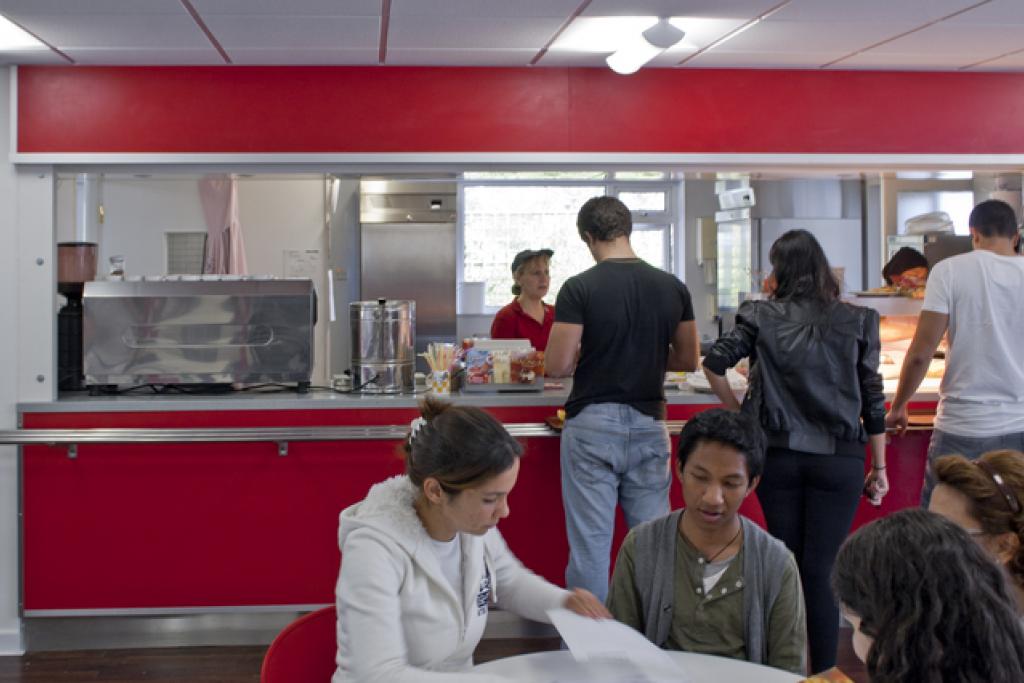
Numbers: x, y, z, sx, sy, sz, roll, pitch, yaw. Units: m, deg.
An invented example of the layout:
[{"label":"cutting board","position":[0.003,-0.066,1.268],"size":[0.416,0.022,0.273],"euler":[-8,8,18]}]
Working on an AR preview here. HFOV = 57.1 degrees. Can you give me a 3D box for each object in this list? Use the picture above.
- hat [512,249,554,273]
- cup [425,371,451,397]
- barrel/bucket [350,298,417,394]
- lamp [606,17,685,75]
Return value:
[{"label":"hat","position":[0.104,-0.527,6.018],"size":[0.160,0.066,0.218],"euler":[-6,-11,-39]},{"label":"cup","position":[-0.387,0.235,5.044],"size":[0.152,0.102,0.111],"euler":[0,1,7]},{"label":"barrel/bucket","position":[-0.722,0.015,5.165],"size":[0.349,0.521,0.499],"euler":[0,6,-5]},{"label":"lamp","position":[0.652,-1.479,4.748],"size":[0.182,0.187,0.438],"euler":[-3,4,-40]}]
